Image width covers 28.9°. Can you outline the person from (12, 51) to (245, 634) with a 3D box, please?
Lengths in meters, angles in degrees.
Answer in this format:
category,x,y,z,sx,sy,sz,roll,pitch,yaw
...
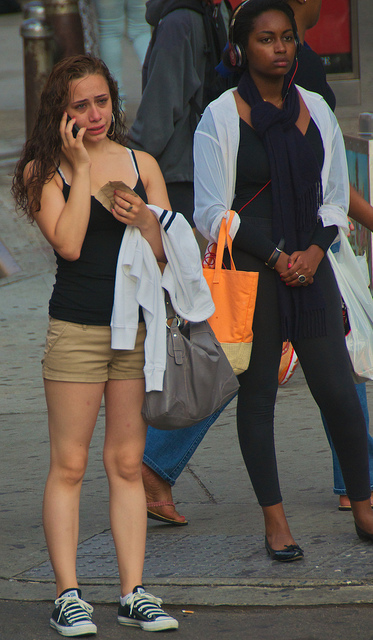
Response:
category,x,y,z,sx,sy,sz,roll,pitch,yaw
person,-0.199,0.061,2.375,0.661,1.832,0.485,-4,7,-13

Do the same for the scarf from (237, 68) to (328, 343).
category,x,y,z,sx,sy,sz,roll,pitch,yaw
scarf,0.375,-0.462,2.825,0.329,1.068,0.299,-1,6,6

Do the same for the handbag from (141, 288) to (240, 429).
category,x,y,z,sx,sy,sz,roll,pitch,yaw
handbag,0.003,0.122,2.405,0.338,0.427,0.152,-15,17,-35

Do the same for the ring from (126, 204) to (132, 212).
category,x,y,z,sx,sy,sz,roll,pitch,yaw
ring,-0.180,-0.350,2.267,0.021,0.019,0.013,-11,59,-24

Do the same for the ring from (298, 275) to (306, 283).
category,x,y,z,sx,sy,sz,roll,pitch,yaw
ring,0.433,-0.154,2.715,0.028,0.029,0.018,-8,8,-42

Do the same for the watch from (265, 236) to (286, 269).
category,x,y,z,sx,sy,sz,roll,pitch,yaw
watch,0.338,-0.254,2.751,0.055,0.091,0.091,29,42,16

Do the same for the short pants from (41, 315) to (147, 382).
category,x,y,z,sx,sy,sz,roll,pitch,yaw
short pants,-0.308,0.116,2.359,0.360,0.233,0.203,6,-7,-32

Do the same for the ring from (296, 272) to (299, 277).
category,x,y,z,sx,sy,sz,roll,pitch,yaw
ring,0.414,-0.171,2.704,0.010,0.012,0.004,-5,7,-23
